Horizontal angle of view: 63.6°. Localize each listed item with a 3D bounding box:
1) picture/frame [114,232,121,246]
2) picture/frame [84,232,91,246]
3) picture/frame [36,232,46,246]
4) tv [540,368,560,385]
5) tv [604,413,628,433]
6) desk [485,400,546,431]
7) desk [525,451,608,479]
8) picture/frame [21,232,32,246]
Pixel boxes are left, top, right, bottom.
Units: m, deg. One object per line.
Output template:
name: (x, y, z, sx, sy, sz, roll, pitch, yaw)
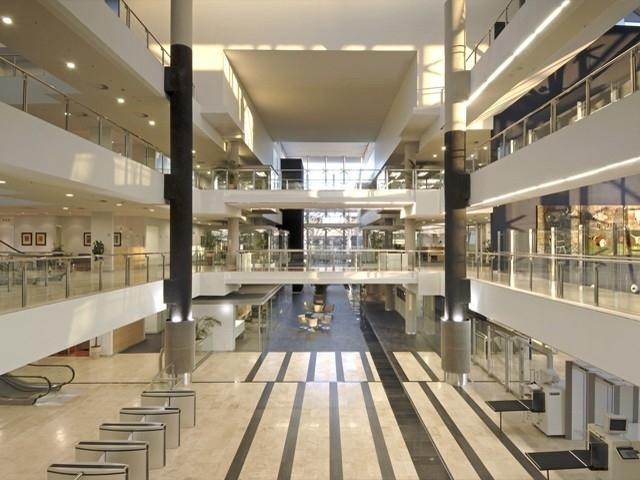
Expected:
picture/frame: (-9.529, -0.066, 24.290, 0.655, 0.792, 0.078, 0, 1, 23)
picture/frame: (-11.475, -0.030, 25.388, 0.351, 0.716, 0.135, 2, 4, 15)
picture/frame: (-13.379, -0.078, 24.722, 0.616, 0.735, 0.054, 1, 0, -11)
tv: (6.423, 3.873, 14.578, 0.519, 0.312, 0.617, 1, 4, -9)
tv: (6.814, 4.223, 11.956, 0.373, 0.384, 0.375, -1, 0, 9)
desk: (5.101, 4.859, 13.952, 1.330, 0.369, 0.787, 1, -5, -8)
desk: (5.521, 5.049, 11.776, 1.576, 0.380, 0.712, 0, 4, -19)
picture/frame: (-14.022, -0.053, 24.706, 0.603, 0.723, 0.055, 1, -2, -6)
